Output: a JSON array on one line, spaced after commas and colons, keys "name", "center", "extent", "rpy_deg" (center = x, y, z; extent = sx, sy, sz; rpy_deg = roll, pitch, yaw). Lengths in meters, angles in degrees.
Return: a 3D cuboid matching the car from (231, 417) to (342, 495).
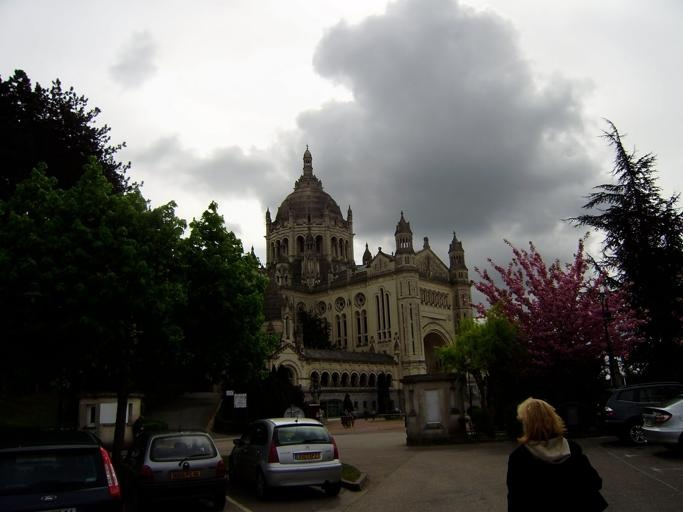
[{"name": "car", "center": [-1.652, 5.320, 16.003], "extent": [2.998, 1.921, 1.716], "rpy_deg": [-15, -18, 39]}]
